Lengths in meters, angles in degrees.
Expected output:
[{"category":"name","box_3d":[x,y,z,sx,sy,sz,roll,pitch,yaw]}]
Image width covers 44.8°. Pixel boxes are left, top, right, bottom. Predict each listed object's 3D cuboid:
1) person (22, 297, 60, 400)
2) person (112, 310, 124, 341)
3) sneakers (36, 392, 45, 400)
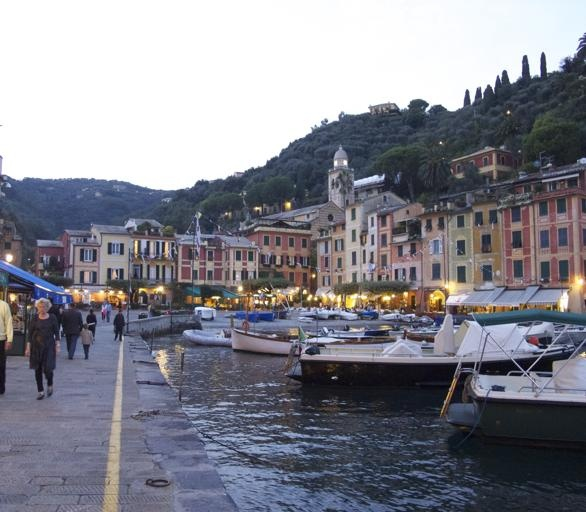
[{"category":"person","box_3d":[-5.746,2.171,16.439,0.650,2.331,1.065,1,-5,-19]},{"category":"person","box_3d":[-8.534,3.481,35.076,0.426,1.421,1.910,0,-5,-15]},{"category":"sneakers","box_3d":[-5.841,3.288,16.617,0.107,0.109,0.263,-1,-9,-2]}]
